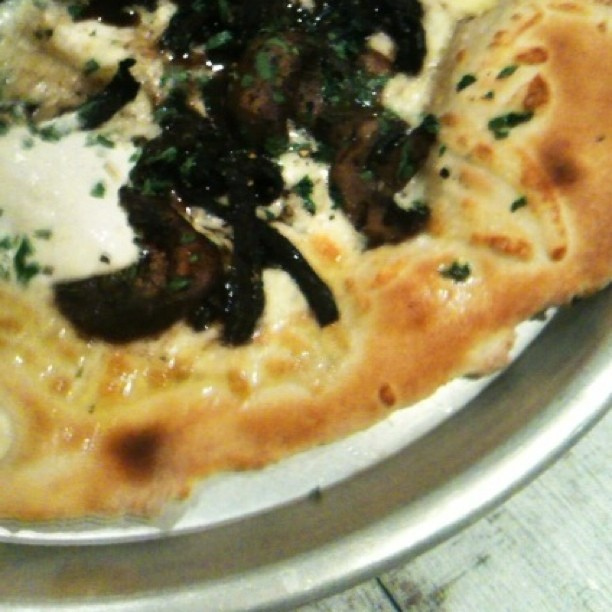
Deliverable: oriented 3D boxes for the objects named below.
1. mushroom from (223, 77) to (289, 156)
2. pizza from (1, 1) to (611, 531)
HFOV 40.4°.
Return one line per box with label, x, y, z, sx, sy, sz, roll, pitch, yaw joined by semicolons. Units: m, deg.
mushroom;-0.098;-0.357;1.547;0.144;0.034;0.126;-15;99;21
pizza;-0.014;-0.057;1.492;1.404;0.137;0.911;-9;79;-3
